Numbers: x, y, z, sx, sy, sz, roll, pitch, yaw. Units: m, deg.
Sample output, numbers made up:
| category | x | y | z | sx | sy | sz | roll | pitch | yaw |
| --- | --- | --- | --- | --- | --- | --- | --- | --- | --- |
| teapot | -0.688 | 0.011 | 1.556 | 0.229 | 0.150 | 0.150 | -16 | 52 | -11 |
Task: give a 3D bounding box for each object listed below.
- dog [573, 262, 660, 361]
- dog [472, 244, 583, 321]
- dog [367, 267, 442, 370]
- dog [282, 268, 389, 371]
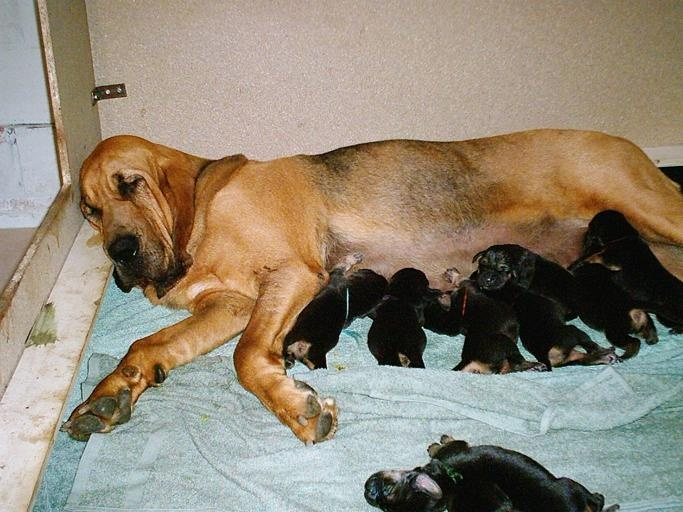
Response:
| category | x | y | z | sx | sy | sz | roll | pitch | yaw |
| --- | --- | --- | --- | --- | --- | --- | --- | --- | --- |
| dog | 1.666 | 0.449 | 3.995 | 0.255 | 0.372 | 0.702 | -8 | -6 | -27 |
| dog | 1.283 | 0.145 | 4.183 | 0.929 | 0.327 | 0.290 | 20 | -5 | 6 |
| dog | 0.413 | 0.375 | 4.026 | 0.284 | 0.339 | 0.693 | 1 | 42 | 22 |
| dog | -0.046 | 0.402 | 3.911 | 0.317 | 0.143 | 0.582 | 11 | 52 | 42 |
